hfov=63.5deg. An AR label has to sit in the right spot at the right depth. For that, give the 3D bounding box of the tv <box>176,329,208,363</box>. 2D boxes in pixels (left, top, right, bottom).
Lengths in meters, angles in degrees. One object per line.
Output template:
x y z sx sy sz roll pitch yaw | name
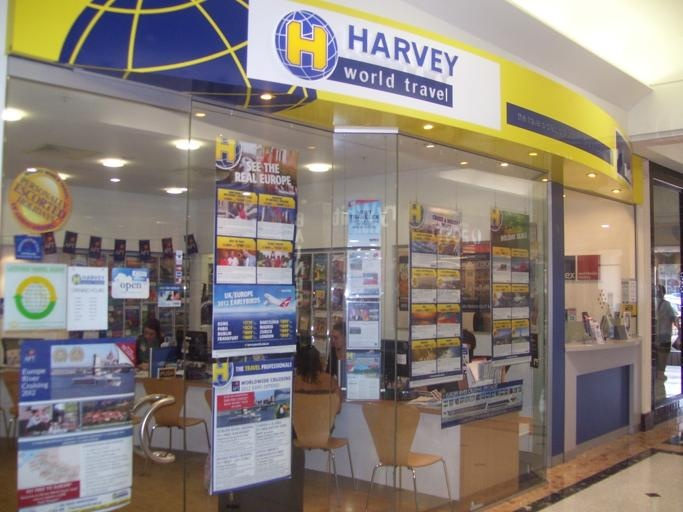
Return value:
-1.002 0.592 3.665 0.203 0.218 0.068 4 -6 -38 | tv
